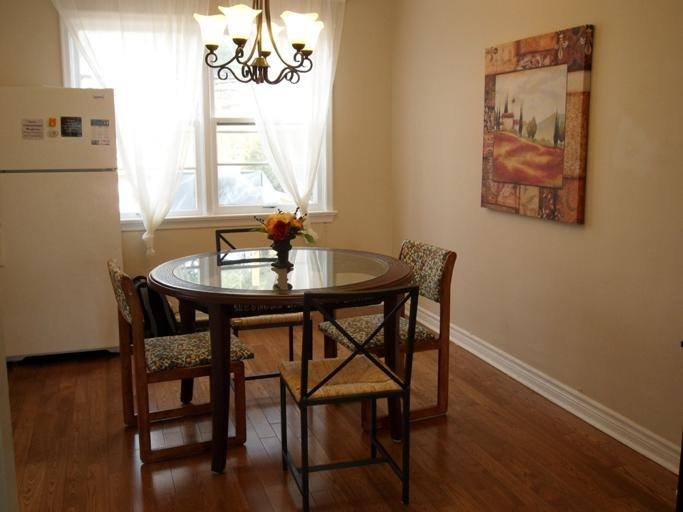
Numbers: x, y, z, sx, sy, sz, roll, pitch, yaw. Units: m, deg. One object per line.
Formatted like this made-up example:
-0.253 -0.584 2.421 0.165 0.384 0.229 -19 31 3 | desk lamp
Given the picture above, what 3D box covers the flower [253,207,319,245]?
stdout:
-0.275 -0.168 2.926 0.254 0.157 0.216 9 14 20 | flower
